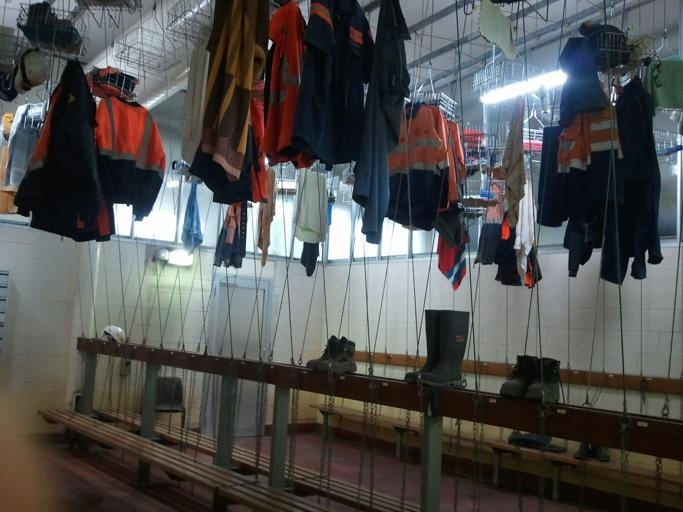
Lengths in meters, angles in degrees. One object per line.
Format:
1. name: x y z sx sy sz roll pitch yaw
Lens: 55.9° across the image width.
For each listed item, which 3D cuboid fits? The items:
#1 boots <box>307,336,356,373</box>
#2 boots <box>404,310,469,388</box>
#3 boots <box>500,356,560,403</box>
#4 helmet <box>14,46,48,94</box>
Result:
1. boots: -0.058 0.759 4.974 0.278 0.253 0.313 0 -1 -23
2. boots: 0.715 0.648 4.590 0.476 0.693 0.404 7 -9 -26
3. boots: 1.221 0.790 4.105 0.248 0.209 0.402 -3 -14 33
4. helmet: -2.904 -1.731 5.991 0.306 0.390 0.262 -6 6 -30
